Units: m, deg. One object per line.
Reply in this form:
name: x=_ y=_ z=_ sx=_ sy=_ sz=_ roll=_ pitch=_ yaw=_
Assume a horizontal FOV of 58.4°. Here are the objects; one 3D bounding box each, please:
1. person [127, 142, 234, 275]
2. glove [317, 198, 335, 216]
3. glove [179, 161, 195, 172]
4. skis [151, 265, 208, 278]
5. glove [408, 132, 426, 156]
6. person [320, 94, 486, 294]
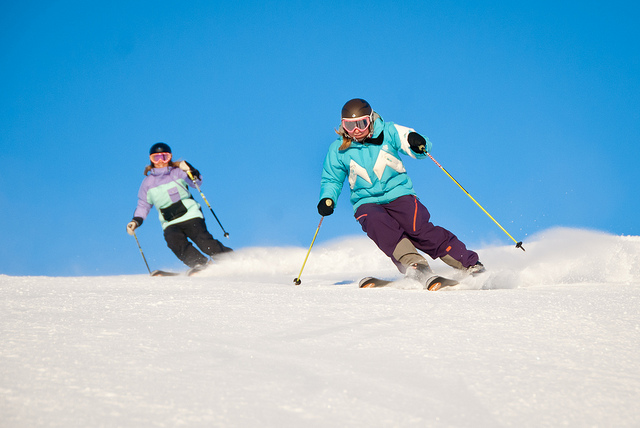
person: x=-1.840 y=0.021 z=7.404 sx=1.042 sy=1.689 sz=0.635 roll=-34 pitch=-7 yaw=0
glove: x=0.059 y=-0.075 z=5.849 sx=0.134 sy=0.172 sz=0.181 roll=3 pitch=33 yaw=0
glove: x=-1.894 y=-0.662 z=8.059 sx=0.219 sy=0.130 sz=0.204 roll=2 pitch=14 yaw=0
skis: x=-1.890 y=0.762 z=7.665 sx=0.643 sy=0.107 sz=0.194 roll=-2 pitch=34 yaw=-24
glove: x=0.941 y=-0.703 z=5.665 sx=0.086 sy=0.204 sz=0.151 roll=-32 pitch=31 yaw=-5
person: x=0.707 y=-0.131 z=5.958 sx=1.173 sy=2.411 sz=0.829 roll=-18 pitch=30 yaw=22
